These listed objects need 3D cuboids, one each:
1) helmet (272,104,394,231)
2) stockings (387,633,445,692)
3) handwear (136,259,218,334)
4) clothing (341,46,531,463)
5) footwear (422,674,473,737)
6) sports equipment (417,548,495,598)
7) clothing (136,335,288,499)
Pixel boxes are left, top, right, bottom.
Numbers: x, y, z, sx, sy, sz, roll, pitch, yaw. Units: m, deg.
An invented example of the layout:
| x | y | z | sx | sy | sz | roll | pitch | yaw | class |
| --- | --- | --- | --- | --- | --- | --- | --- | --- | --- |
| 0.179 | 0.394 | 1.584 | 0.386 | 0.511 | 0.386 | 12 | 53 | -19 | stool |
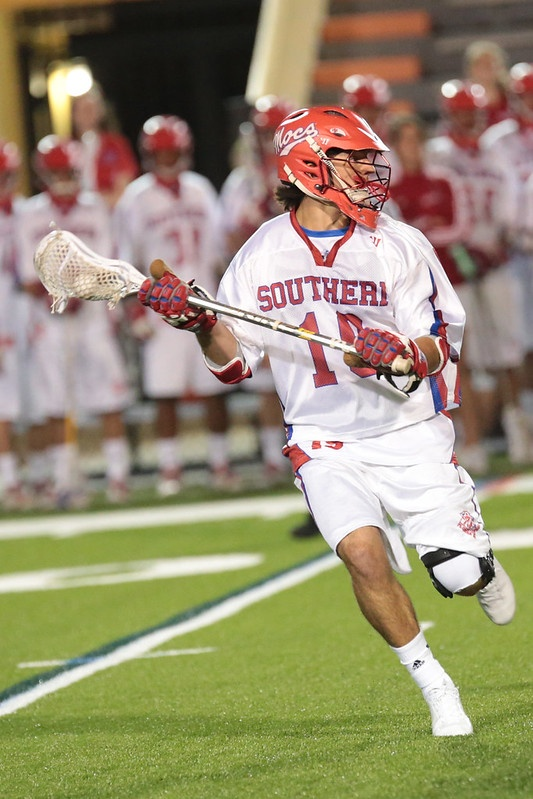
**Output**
| x | y | z | sx | sy | sz | roll | pitch | yaw | class |
| --- | --- | --- | --- | --- | --- | --- | --- | --- | --- |
| 0.156 | -0.635 | 2.475 | 0.342 | 0.282 | 0.236 | 3 | 15 | 20 | helmet |
| 0.345 | 0.594 | 2.053 | 0.110 | 0.120 | 0.055 | -5 | -2 | 4 | stockings |
| -0.201 | -0.226 | 2.203 | 0.075 | 0.210 | 0.149 | -55 | 19 | 3 | handwear |
| 1.355 | -1.020 | 6.253 | 1.321 | 2.979 | 0.760 | -14 | 1 | 9 | clothing |
| 0.393 | 0.686 | 2.017 | 0.063 | 0.065 | 0.163 | -17 | 32 | 5 | footwear |
| 0.485 | 0.417 | 2.242 | 0.170 | 0.117 | 0.126 | -22 | -1 | -38 | sports equipment |
| -0.364 | 0.144 | 5.633 | 1.236 | 1.244 | 0.192 | -6 | -4 | -35 | clothing |
